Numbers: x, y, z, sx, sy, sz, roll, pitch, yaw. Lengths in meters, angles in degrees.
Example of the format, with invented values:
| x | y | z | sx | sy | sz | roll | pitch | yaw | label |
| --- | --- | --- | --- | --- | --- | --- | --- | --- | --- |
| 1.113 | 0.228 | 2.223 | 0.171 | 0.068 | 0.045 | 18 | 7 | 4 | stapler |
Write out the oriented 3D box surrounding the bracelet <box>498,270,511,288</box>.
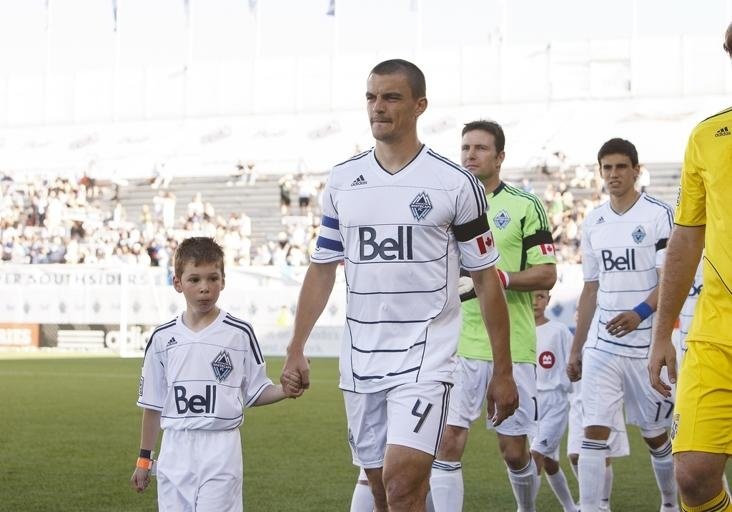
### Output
| x | y | z | sx | sy | sz | roll | pitch | yaw | label |
| --- | --- | --- | --- | --- | --- | --- | --- | --- | --- |
| 1.512 | 0.257 | 14.471 | 0.076 | 0.145 | 0.108 | -33 | 28 | 6 | bracelet |

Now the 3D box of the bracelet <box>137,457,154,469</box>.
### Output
| x | y | z | sx | sy | sz | roll | pitch | yaw | label |
| --- | --- | --- | --- | --- | --- | --- | --- | --- | --- |
| -2.339 | 2.182 | 14.053 | 0.124 | 0.089 | 0.123 | 4 | -2 | -38 | bracelet |

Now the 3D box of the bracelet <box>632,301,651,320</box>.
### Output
| x | y | z | sx | sy | sz | roll | pitch | yaw | label |
| --- | --- | --- | --- | --- | --- | --- | --- | --- | --- |
| 3.169 | 0.616 | 15.172 | 0.143 | 0.201 | 0.179 | -34 | 32 | -19 | bracelet |
